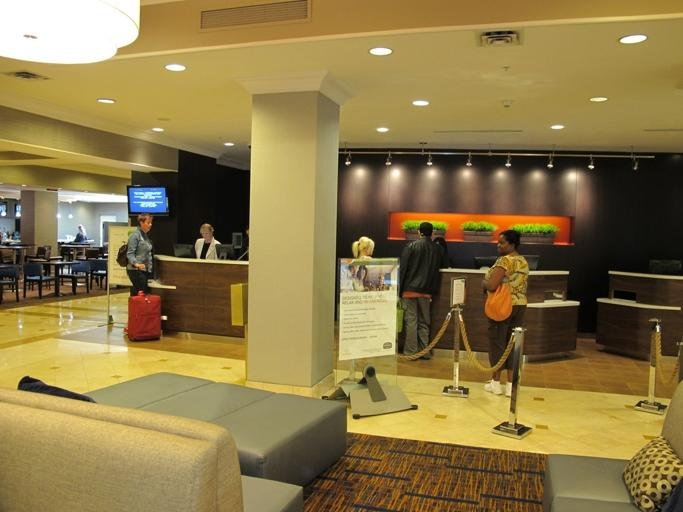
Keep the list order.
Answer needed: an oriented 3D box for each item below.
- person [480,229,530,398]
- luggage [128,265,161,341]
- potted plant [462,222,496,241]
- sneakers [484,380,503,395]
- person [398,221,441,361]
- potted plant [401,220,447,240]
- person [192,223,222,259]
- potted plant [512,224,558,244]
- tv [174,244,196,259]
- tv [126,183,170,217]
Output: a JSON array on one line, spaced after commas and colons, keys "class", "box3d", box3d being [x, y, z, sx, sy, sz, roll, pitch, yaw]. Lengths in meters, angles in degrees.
[{"class": "person", "box3d": [1.761, 0.455, 5.390, 0.439, 1.461, 0.430, 3, 5, 19]}, {"class": "luggage", "box3d": [-3.109, 0.768, 7.905, 0.494, 1.060, 0.568, -1, 5, -26]}, {"class": "potted plant", "box3d": [2.588, -0.407, 9.418, 0.427, 0.266, 0.429, 0, -1, 21]}, {"class": "sneakers", "box3d": [1.735, 1.479, 5.732, 0.116, 0.162, 0.237, -1, 6, -19]}, {"class": "person", "box3d": [1.109, 0.568, 7.005, 0.596, 1.609, 0.197, 0, 5, -15]}, {"class": "potted plant", "box3d": [1.574, -0.507, 9.508, 0.565, 0.259, 0.488, 0, 1, 5]}, {"class": "person", "box3d": [-2.250, -0.236, 8.331, 0.373, 0.557, 0.713, -1, 5, -20]}, {"class": "potted plant", "box3d": [3.622, -0.404, 9.235, 0.505, 0.294, 0.647, 1, -2, -5]}, {"class": "tv", "box3d": [-2.556, -0.069, 8.173, 0.317, 0.211, 0.292, 0, 5, -16]}, {"class": "tv", "box3d": [-3.997, -1.146, 10.332, 1.044, 0.611, 0.160, 3, 5, 24]}]
